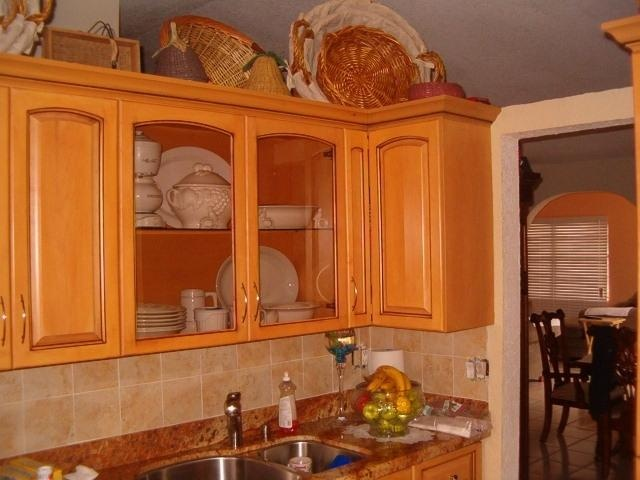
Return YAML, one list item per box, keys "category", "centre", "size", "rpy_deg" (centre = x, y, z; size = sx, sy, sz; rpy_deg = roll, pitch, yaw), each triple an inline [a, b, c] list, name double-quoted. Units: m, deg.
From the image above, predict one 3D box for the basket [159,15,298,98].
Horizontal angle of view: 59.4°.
- category: "basket"
  centre: [-0.452, -0.851, 2.667]
  size: [0.489, 0.144, 0.543]
  rpy_deg: [21, 34, -13]

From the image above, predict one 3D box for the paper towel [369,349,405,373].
- category: "paper towel"
  centre: [0.342, 0.629, 2.953]
  size: [0.138, 0.107, 0.145]
  rpy_deg: [-1, -1, 19]

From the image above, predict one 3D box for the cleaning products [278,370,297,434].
- category: "cleaning products"
  centre: [-0.156, 0.791, 2.768]
  size: [0.091, 0.283, 0.182]
  rpy_deg: [0, -4, -4]

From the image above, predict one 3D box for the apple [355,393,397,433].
- category: "apple"
  centre: [0.269, 0.801, 2.678]
  size: [0.186, 0.152, 0.183]
  rpy_deg: [-6, -3, -22]

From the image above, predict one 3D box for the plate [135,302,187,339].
- category: "plate"
  centre: [-0.599, 0.307, 2.139]
  size: [0.188, 0.125, 0.016]
  rpy_deg: [3, -6, -39]

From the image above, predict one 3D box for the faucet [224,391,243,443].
- category: "faucet"
  centre: [-0.387, 0.813, 2.546]
  size: [0.072, 0.241, 0.076]
  rpy_deg: [0, -5, -2]

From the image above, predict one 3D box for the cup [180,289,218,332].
- category: "cup"
  centre: [-0.447, 0.269, 2.157]
  size: [0.171, 0.170, 0.104]
  rpy_deg: [1, -3, -34]

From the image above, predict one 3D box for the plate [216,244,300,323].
- category: "plate"
  centre: [-0.180, 0.183, 2.406]
  size: [0.266, 0.264, 0.036]
  rpy_deg: [-6, 8, -39]

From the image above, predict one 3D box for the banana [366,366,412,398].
- category: "banana"
  centre: [0.335, 0.684, 2.707]
  size: [0.122, 0.055, 0.158]
  rpy_deg: [4, 0, 18]
